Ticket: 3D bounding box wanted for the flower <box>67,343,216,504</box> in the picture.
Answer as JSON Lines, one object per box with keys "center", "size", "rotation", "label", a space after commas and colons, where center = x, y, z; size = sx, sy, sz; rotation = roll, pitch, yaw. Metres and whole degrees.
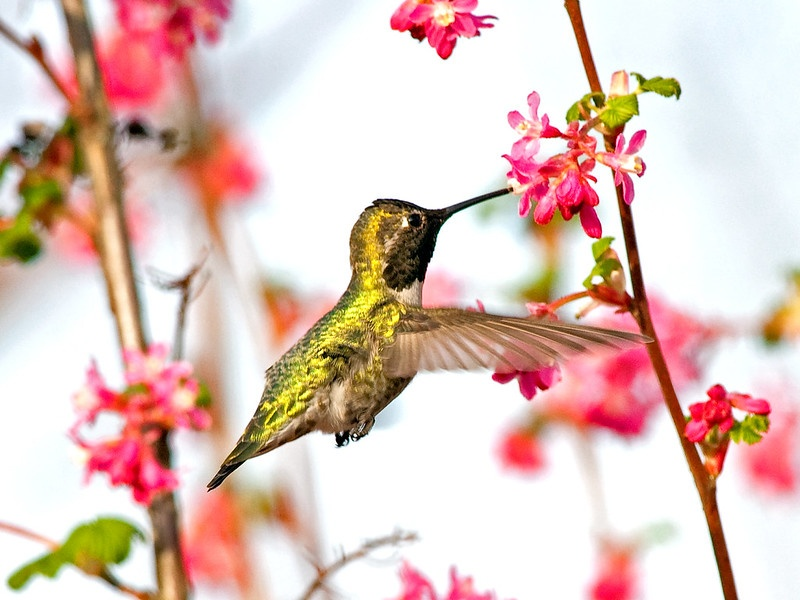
{"center": [-1.050, 0.478, 4.934], "size": [0.540, 0.395, 0.479], "rotation": [26, -58, -5], "label": "flower"}
